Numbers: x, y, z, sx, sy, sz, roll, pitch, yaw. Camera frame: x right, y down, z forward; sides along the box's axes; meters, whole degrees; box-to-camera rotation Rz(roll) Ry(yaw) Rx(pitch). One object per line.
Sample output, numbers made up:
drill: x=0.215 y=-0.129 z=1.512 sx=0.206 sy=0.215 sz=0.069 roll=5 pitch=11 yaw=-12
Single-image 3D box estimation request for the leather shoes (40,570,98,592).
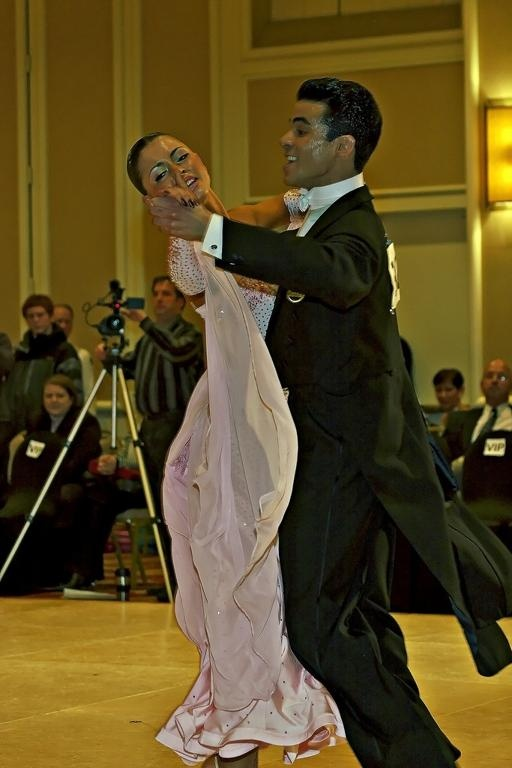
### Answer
leather shoes: x=-1.054 y=1.134 z=4.402 sx=0.250 sy=0.082 sz=0.242 roll=0 pitch=-3 yaw=-6
